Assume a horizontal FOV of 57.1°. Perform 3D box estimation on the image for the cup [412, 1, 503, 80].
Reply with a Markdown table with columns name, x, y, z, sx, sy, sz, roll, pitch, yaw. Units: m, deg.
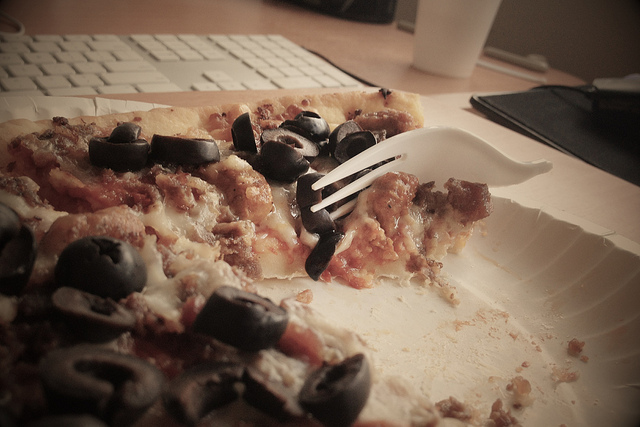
| name | x | y | z | sx | sy | sz | roll | pitch | yaw |
| --- | --- | --- | --- | --- | --- | --- | --- | --- | --- |
| cup | 0.777 | -1.058 | 3.550 | 0.430 | 0.502 | 0.452 | 6 | 41 | -5 |

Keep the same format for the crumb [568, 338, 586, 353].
| name | x | y | z | sx | sy | sz | roll | pitch | yaw |
| --- | --- | --- | --- | --- | --- | --- | --- | --- | --- |
| crumb | 0.942 | 0.482 | 2.153 | 0.041 | 0.012 | 0.045 | 0 | 53 | 10 |

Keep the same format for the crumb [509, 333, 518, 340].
| name | x | y | z | sx | sy | sz | roll | pitch | yaw |
| --- | --- | --- | --- | --- | --- | --- | --- | --- | --- |
| crumb | 0.723 | 0.455 | 2.194 | 0.015 | 0.008 | 0.022 | -24 | 29 | -13 |

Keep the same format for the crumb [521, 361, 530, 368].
| name | x | y | z | sx | sy | sz | roll | pitch | yaw |
| --- | --- | --- | --- | --- | --- | --- | --- | --- | --- |
| crumb | 0.739 | 0.540 | 2.112 | 0.017 | 0.005 | 0.017 | -6 | 25 | -16 |

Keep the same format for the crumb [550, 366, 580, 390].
| name | x | y | z | sx | sy | sz | roll | pitch | yaw |
| --- | --- | --- | --- | --- | --- | --- | --- | --- | --- |
| crumb | 0.866 | 0.570 | 2.087 | 0.068 | 0.019 | 0.070 | -34 | 33 | -25 |
